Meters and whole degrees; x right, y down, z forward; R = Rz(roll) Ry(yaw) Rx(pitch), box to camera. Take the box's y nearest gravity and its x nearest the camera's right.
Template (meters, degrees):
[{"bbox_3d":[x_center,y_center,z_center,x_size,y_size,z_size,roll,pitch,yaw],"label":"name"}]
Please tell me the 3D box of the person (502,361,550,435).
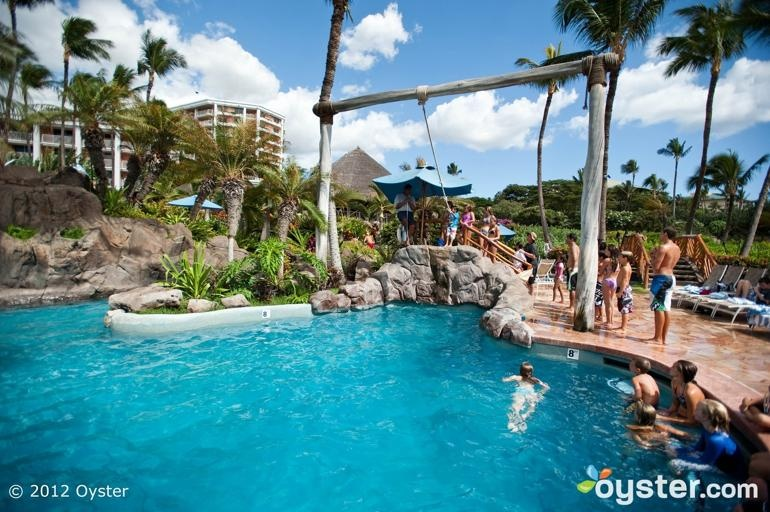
[{"bbox_3d":[2.803,2.795,9.086,0.778,0.427,1.321,-1,23,18],"label":"person"}]
